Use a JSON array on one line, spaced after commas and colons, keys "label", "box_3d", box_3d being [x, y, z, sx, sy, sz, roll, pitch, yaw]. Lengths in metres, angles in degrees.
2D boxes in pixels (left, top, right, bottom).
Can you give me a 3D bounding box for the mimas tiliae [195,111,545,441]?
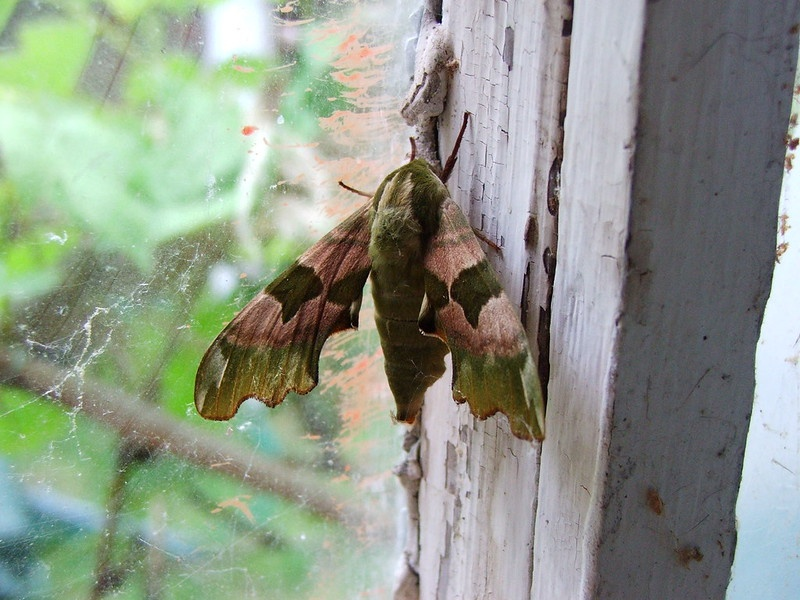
[{"label": "mimas tiliae", "box_3d": [-0.019, -0.060, 1.177, 0.539, 0.564, 0.157, -4, 8, -20]}]
